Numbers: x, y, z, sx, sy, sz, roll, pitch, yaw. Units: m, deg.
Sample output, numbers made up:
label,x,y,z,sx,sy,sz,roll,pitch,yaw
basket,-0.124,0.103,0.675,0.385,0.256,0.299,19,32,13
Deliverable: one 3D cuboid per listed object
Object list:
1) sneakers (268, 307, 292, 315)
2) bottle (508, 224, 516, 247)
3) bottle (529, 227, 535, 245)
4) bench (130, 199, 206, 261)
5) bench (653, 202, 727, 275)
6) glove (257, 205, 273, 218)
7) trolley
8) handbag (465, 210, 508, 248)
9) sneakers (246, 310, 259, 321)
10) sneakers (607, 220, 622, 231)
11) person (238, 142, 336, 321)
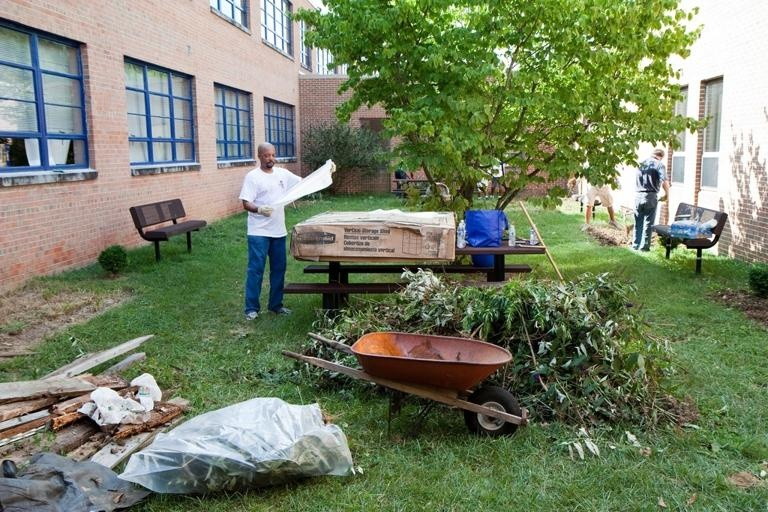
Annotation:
label,x,y,z,sx,sy,sz,roll,pitch,yaw
sneakers,-1.527,0.832,8.475,0.356,0.144,0.129,0,1,1
bottle,1.995,-0.334,8.737,0.106,0.317,0.433,4,10,13
bottle,2.360,-0.300,8.929,0.092,0.194,0.250,4,10,13
bench,-4.485,-0.625,11.779,1.177,1.055,2.541,-2,10,-18
bench,6.129,-0.315,11.243,0.751,0.995,1.518,-2,8,8
glove,-1.674,-0.648,8.052,0.212,0.173,0.306,-1,10,-12
trolley,0.133,1.211,5.621,2.548,0.841,0.818,6,10,17
handbag,1.628,-0.449,8.765,0.722,0.565,0.526,0,10,-9
sneakers,-1.884,0.871,8.204,0.198,0.116,0.196,-2,10,-19
sneakers,6.241,-0.845,15.233,0.412,0.172,0.138,21,37,16
person,-1.520,-0.407,8.425,1.207,2.578,0.889,-5,12,-30
